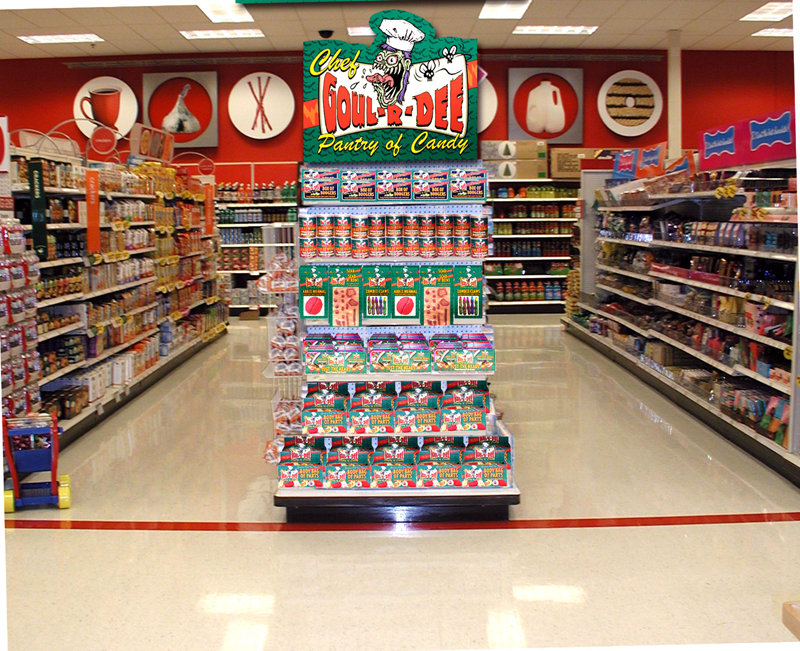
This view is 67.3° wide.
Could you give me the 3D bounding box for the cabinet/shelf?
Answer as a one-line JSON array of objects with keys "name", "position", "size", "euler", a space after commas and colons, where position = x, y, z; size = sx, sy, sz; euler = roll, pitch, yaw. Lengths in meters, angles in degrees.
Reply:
[{"name": "cabinet/shelf", "position": [0.007, -0.254, 6.787], "size": [5.278, 1.868, 7.063], "euler": [-1, 8, 2]}]
